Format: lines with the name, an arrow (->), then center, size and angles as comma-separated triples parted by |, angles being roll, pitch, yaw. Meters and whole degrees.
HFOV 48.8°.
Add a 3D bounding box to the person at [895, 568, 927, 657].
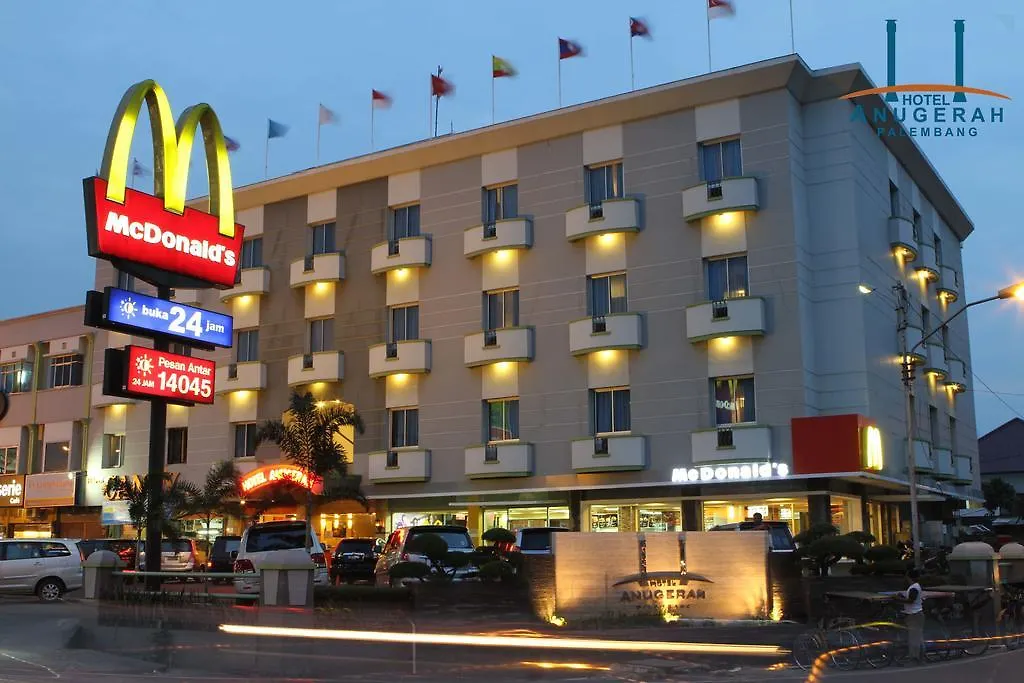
person -> 11.493, 7.966, 32.230 | 0.560, 2.082, 1.369 | -8, -16, 19
